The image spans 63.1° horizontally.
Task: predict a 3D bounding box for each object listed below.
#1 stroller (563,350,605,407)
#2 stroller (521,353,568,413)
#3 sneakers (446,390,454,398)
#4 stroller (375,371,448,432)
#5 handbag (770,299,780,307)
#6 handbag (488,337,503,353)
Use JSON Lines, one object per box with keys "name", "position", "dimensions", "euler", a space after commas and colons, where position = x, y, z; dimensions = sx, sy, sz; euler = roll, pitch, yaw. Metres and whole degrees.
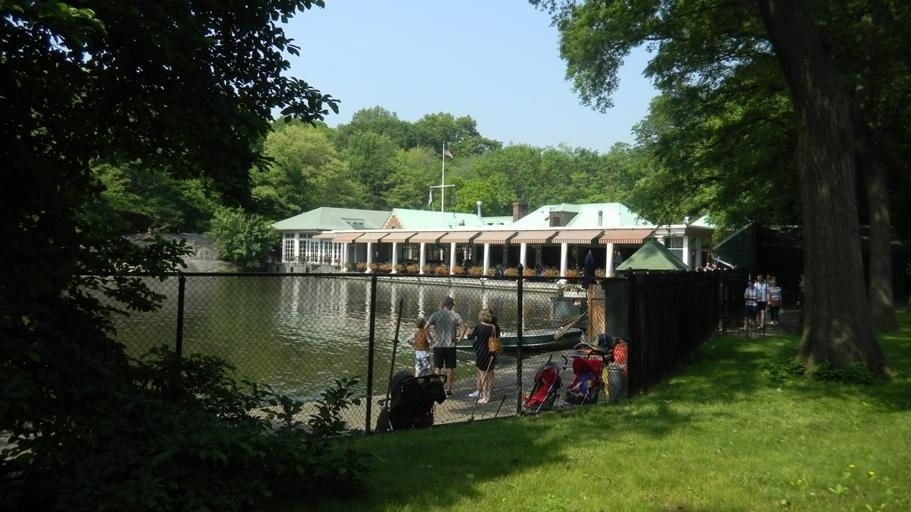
{"name": "stroller", "position": [2.813, 2.533, 15.387], "dimensions": [0.640, 1.003, 1.001], "euler": [3, 5, 44]}
{"name": "stroller", "position": [1.993, 2.526, 15.723], "dimensions": [0.624, 0.839, 1.517], "euler": [14, 28, 33]}
{"name": "sneakers", "position": [-0.089, 3.233, 17.456], "dimensions": [0.099, 0.100, 0.246], "euler": [3, -1, 14]}
{"name": "stroller", "position": [-0.823, 2.699, 14.091], "dimensions": [0.974, 1.265, 1.313], "euler": [3, 0, -22]}
{"name": "handbag", "position": [10.898, 1.574, 24.833], "dimensions": [0.235, 0.167, 0.242], "euler": [0, 11, 31]}
{"name": "handbag", "position": [0.905, 1.905, 16.053], "dimensions": [0.278, 0.339, 0.582], "euler": [0, 3, 2]}
